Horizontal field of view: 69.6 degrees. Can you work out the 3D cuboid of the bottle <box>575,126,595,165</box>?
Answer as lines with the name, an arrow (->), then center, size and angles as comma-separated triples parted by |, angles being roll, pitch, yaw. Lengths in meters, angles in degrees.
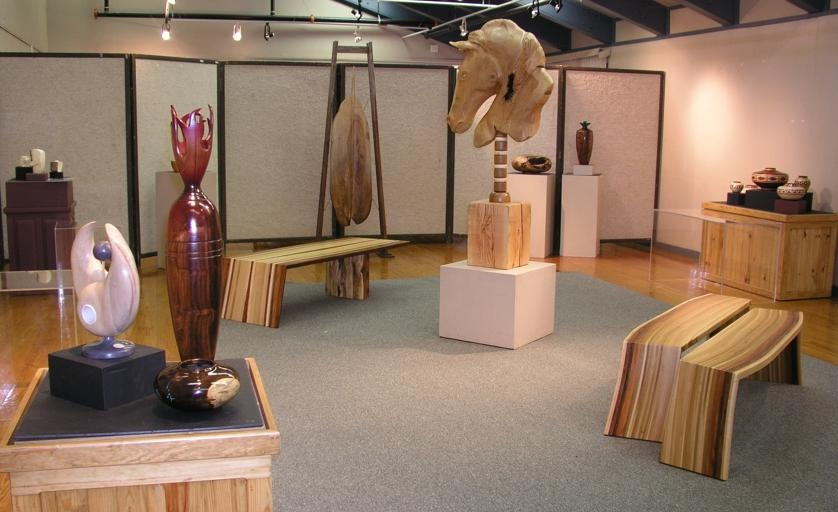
bottle -> 1.955, -1.312, 7.142 | 0.208, 0.466, 0.242 | 3, 11, 16

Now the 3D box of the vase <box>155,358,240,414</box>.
vase -> -0.896, 0.528, 2.444 | 0.344, 0.173, 0.338 | 1, 6, 7

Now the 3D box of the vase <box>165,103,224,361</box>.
vase -> -1.065, -0.090, 2.841 | 0.251, 1.182, 0.394 | -4, 12, -20
